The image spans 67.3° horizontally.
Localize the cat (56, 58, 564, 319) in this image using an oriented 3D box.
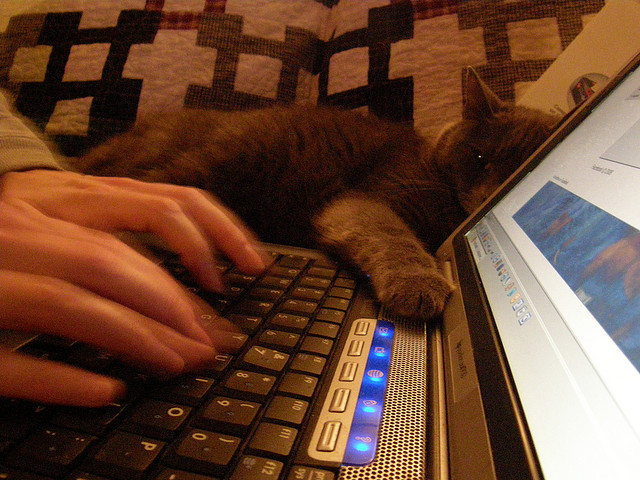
[{"bbox_3d":[-0.220,-0.137,1.437,1.486,0.486,0.727,18,66,18],"label":"cat"}]
